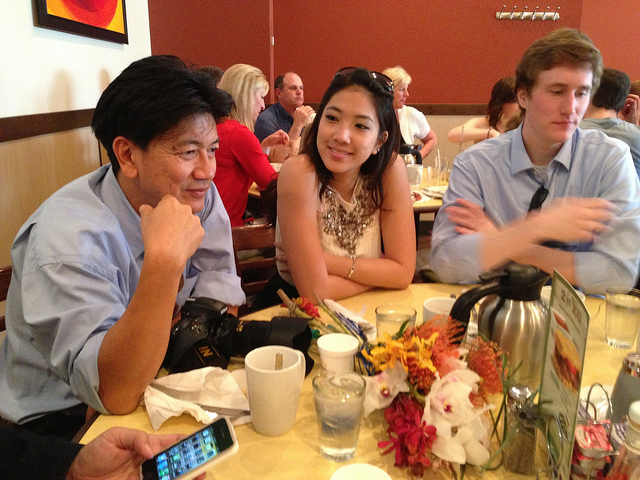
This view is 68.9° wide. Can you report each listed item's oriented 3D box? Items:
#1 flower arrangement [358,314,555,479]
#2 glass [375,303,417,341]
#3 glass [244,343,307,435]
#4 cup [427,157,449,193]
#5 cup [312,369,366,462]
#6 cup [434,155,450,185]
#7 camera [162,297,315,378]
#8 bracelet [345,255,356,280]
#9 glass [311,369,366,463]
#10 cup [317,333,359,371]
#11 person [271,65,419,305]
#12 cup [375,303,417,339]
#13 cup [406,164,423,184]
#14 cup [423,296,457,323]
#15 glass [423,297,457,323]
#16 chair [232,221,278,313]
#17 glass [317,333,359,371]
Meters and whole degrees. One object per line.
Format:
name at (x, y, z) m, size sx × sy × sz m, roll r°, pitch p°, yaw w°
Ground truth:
flower arrangement at (0.274, 0.339, 1.035) m, size 0.358 × 0.302 × 0.280 m, roll -3°, pitch 15°, yaw 1°
glass at (0.198, 0.197, 1.248) m, size 0.090 × 0.098 × 0.083 m, roll 7°, pitch 13°, yaw 33°
glass at (-0.094, 0.353, 1.141) m, size 0.118 × 0.188 × 0.198 m, roll 1°, pitch 4°, yaw 6°
cup at (0.989, -0.567, 3.865) m, size 0.162 × 0.239 × 0.139 m, roll 3°, pitch 5°, yaw 29°
cup at (0.043, 0.388, 1.046) m, size 0.110 × 0.193 × 0.114 m, roll 2°, pitch -4°, yaw 0°
cup at (0.999, -0.591, 3.859) m, size 0.094 × 0.227 × 0.349 m, roll 2°, pitch 16°, yaw 17°
camera at (-0.220, 0.282, 1.329) m, size 0.374 × 0.190 × 0.254 m, roll 4°, pitch 3°, yaw 2°
bracelet at (0.120, 0.101, 1.796) m, size 0.017 × 0.070 × 0.050 m, roll 13°, pitch 10°, yaw -16°
glass at (0.050, 0.386, 1.036) m, size 0.100 × 0.170 × 0.105 m, roll 0°, pitch 5°, yaw 12°
cup at (0.034, 0.244, 1.083) m, size 0.075 × 0.066 × 0.080 m, roll 0°, pitch 19°, yaw 0°
person at (0.090, -0.253, 1.893) m, size 0.578 × 0.862 × 0.588 m, roll -1°, pitch 15°, yaw 9°
cup at (0.193, 0.196, 1.213) m, size 0.085 × 0.097 × 0.082 m, roll 0°, pitch 12°, yaw 0°
cup at (0.717, -0.507, 3.545) m, size 0.118 × 0.194 × 0.203 m, roll 1°, pitch 22°, yaw 15°
cup at (0.315, 0.177, 1.263) m, size 0.055 × 0.060 × 0.078 m, roll -1°, pitch 9°, yaw -9°
glass at (0.322, 0.176, 1.261) m, size 0.062 × 0.067 × 0.088 m, roll -1°, pitch 10°, yaw -4°
chair at (-0.318, 0.146, 2.424) m, size 0.222 × 0.462 × 0.278 m, roll -4°, pitch -16°, yaw -13°
glass at (0.041, 0.253, 1.072) m, size 0.079 × 0.066 × 0.077 m, roll 13°, pitch 24°, yaw 37°
